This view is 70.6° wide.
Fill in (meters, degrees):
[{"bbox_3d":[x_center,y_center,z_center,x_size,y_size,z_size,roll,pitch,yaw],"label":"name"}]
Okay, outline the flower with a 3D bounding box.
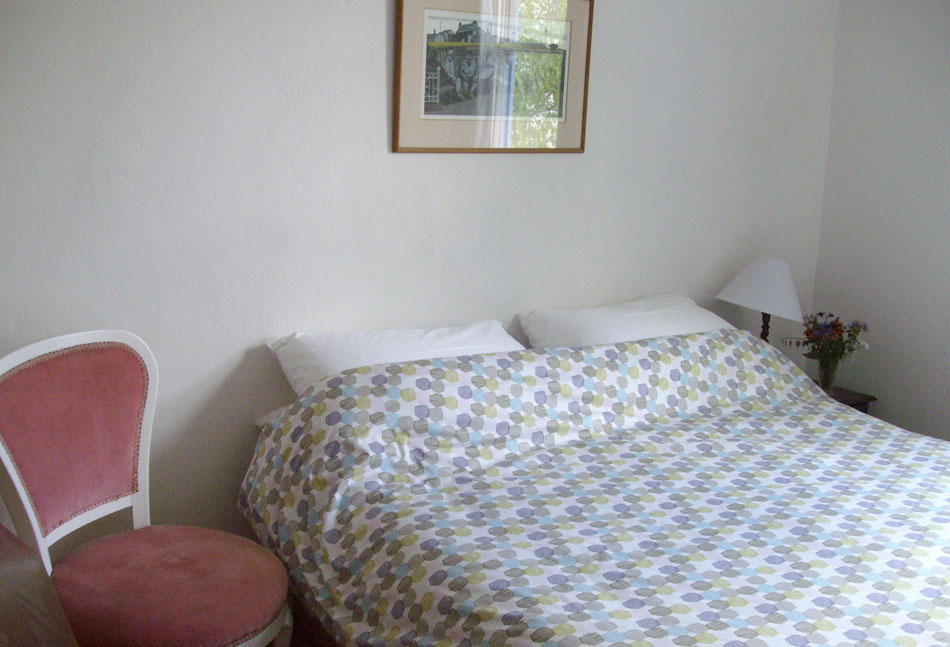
[{"bbox_3d":[1.774,0.158,3.381,0.301,0.329,0.340,-2,-18,40],"label":"flower"}]
